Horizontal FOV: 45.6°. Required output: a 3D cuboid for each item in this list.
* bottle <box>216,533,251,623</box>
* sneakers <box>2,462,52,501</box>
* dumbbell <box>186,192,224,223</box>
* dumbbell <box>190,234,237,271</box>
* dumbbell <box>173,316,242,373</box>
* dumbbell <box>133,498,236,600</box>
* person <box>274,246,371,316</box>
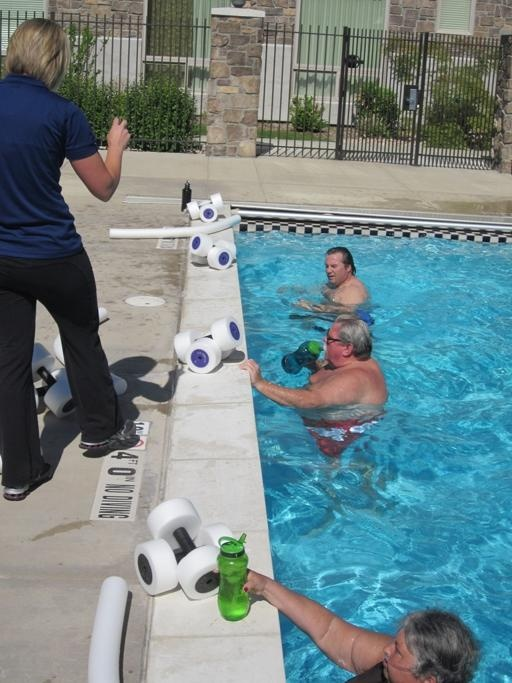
[{"bbox_3d":[-0.071,0.756,1.972,0.116,0.260,0.121,2,16,-1],"label":"bottle"},{"bbox_3d":[-0.974,0.605,2.671,0.091,0.097,0.257,16,24,9],"label":"sneakers"},{"bbox_3d":[-0.667,-1.827,8.362,0.442,0.317,0.541,-13,46,11],"label":"dumbbell"},{"bbox_3d":[-0.460,-0.953,6.439,0.455,0.351,0.317,2,13,-1],"label":"dumbbell"},{"bbox_3d":[-0.312,-0.021,4.137,0.460,0.351,0.418,0,15,-3],"label":"dumbbell"},{"bbox_3d":[-0.254,0.731,2.129,0.323,0.270,0.336,2,12,-2],"label":"dumbbell"},{"bbox_3d":[0.818,-0.631,6.735,0.875,0.785,0.971,-2,17,-11],"label":"person"}]
